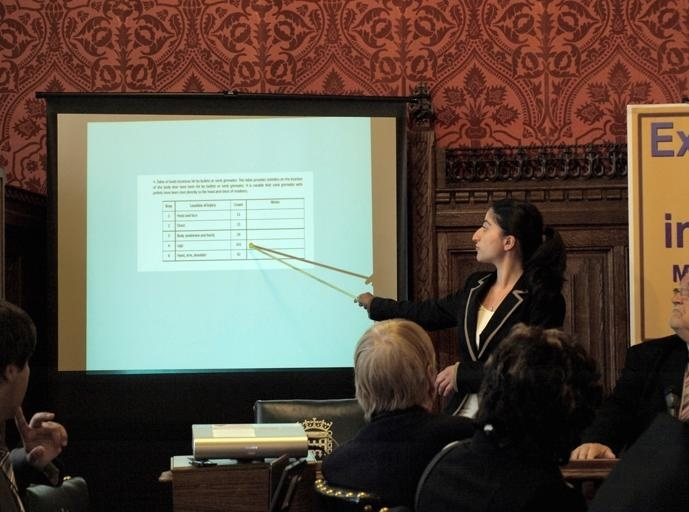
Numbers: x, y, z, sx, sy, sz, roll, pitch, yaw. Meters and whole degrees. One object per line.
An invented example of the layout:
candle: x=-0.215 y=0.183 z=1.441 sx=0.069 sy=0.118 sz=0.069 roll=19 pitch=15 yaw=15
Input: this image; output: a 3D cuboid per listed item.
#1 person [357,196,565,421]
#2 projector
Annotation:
person: x=0.584 y=0.382 z=5.037 sx=1.157 sy=1.986 sz=0.817 roll=6 pitch=-10 yaw=0
projector: x=-0.365 y=0.716 z=3.220 sx=0.440 sy=0.113 sz=0.153 roll=-1 pitch=-3 yaw=-2
